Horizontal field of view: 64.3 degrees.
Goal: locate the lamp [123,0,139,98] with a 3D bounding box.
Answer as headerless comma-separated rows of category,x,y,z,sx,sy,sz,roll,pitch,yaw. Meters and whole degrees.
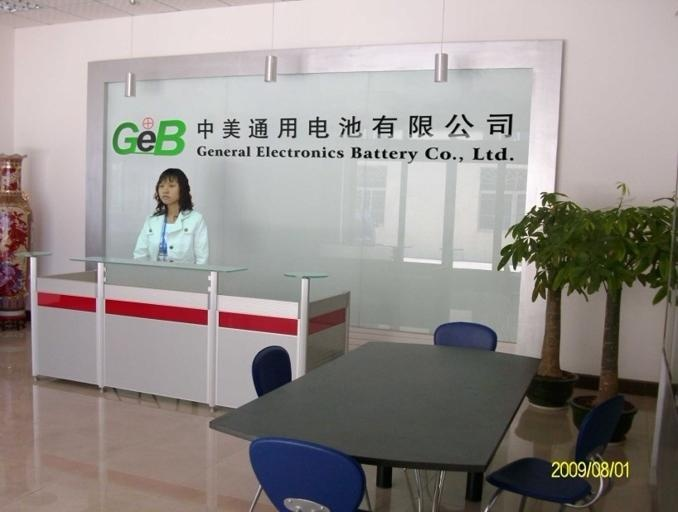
lamp,-2.459,-2.432,6.340,0.151,1.057,0.310,-2,8,-22

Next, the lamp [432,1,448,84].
lamp,1.035,-2.187,5.431,0.147,0.894,0.481,3,8,11

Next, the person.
person,-2.015,-0.500,6.481,0.929,1.095,0.304,5,8,26
